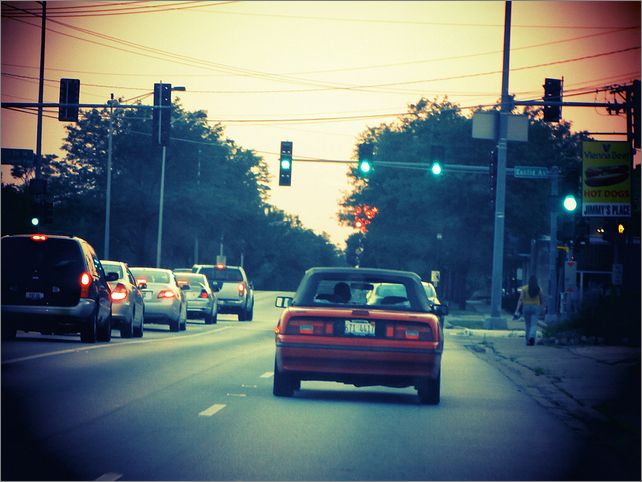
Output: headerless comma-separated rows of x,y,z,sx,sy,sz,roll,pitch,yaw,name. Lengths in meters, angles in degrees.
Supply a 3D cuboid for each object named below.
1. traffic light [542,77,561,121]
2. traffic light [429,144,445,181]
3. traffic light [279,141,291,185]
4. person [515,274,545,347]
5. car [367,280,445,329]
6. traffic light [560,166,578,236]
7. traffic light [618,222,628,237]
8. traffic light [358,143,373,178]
7.825,-4.749,26.044,0.578,1.423,0.918,1,-2,16,traffic light
4.753,-3.289,31.394,0.511,1.259,0.715,1,-2,7,traffic light
-1.448,-3.160,31.674,0.483,1.868,1.189,1,-2,-3,traffic light
6.294,2.074,23.316,0.726,2.065,1.461,1,-2,15,person
2.279,1.898,21.806,2.166,1.225,1.315,-5,-6,39,car
9.029,-1.321,27.947,0.579,2.560,1.045,1,-2,18,traffic light
10.292,-0.395,26.367,0.279,0.457,0.149,3,-2,-22,traffic light
1.888,-3.529,32.548,0.576,1.356,1.876,1,-2,3,traffic light
